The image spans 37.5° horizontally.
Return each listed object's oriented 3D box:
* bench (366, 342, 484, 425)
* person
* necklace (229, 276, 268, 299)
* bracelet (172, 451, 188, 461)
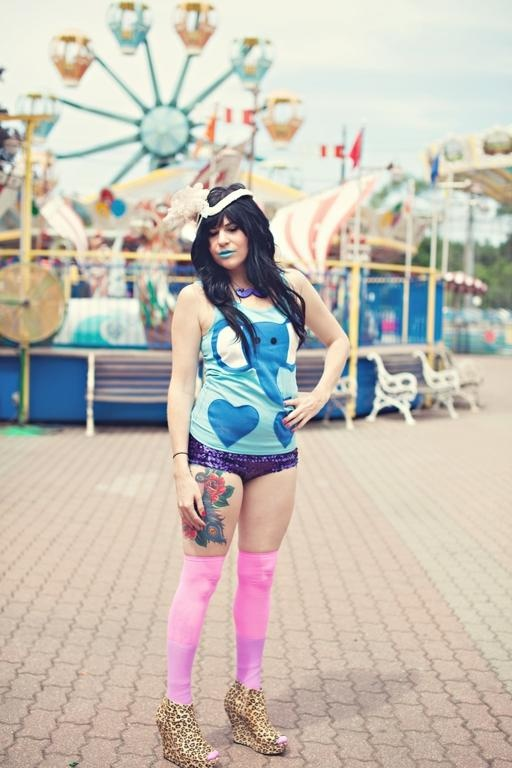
[{"bbox_3d":[2.882,-0.074,12.860,1.445,1.136,2.989,4,6,27],"label":"bench"},{"bbox_3d":[-0.024,0.265,2.318,0.601,1.769,0.378,-3,7,-31],"label":"person"},{"bbox_3d":[-0.018,-0.295,2.265,0.119,0.010,0.128,-1,40,-38],"label":"necklace"},{"bbox_3d":[-0.214,0.202,2.171,0.039,0.027,0.046,0,6,-7],"label":"bracelet"}]
